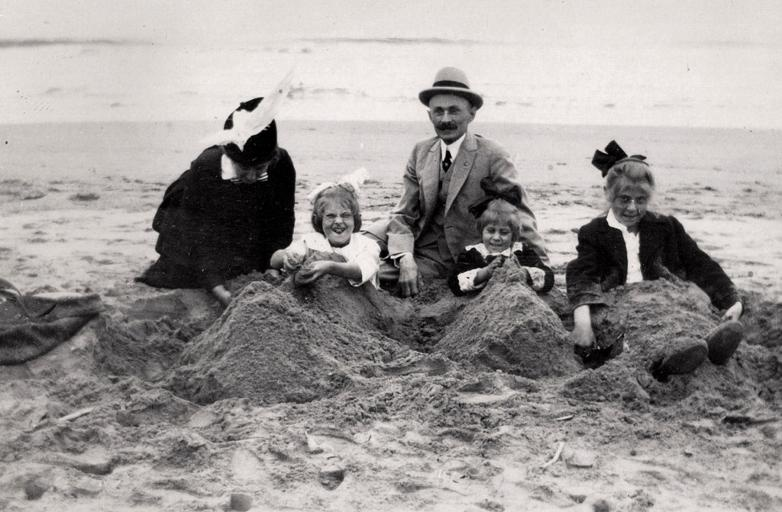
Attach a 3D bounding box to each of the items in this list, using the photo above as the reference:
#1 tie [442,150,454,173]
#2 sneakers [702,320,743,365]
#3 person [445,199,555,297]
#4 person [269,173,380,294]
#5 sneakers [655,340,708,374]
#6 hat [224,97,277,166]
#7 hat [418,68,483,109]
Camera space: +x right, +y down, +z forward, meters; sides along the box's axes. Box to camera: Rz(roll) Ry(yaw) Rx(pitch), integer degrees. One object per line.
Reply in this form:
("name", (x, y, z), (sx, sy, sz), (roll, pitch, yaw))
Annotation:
("tie", (0.530, -0.917, 10.257), (0.125, 0.179, 0.043), (7, 9, 34))
("sneakers", (2.681, 0.706, 8.605), (0.234, 0.391, 0.123), (34, 11, 1))
("person", (1.002, -0.070, 9.756), (0.923, 0.830, 0.551), (-1, 8, 29))
("person", (-0.539, -0.164, 9.481), (0.999, 1.099, 0.726), (-7, 18, -25))
("sneakers", (2.356, 0.827, 8.678), (0.390, 0.299, 0.212), (4, 17, 10))
("hat", (-1.268, -1.105, 9.467), (0.463, 0.641, 0.297), (-2, 17, -10))
("hat", (0.547, -1.699, 10.321), (0.587, 0.246, 0.664), (4, 2, 2))
